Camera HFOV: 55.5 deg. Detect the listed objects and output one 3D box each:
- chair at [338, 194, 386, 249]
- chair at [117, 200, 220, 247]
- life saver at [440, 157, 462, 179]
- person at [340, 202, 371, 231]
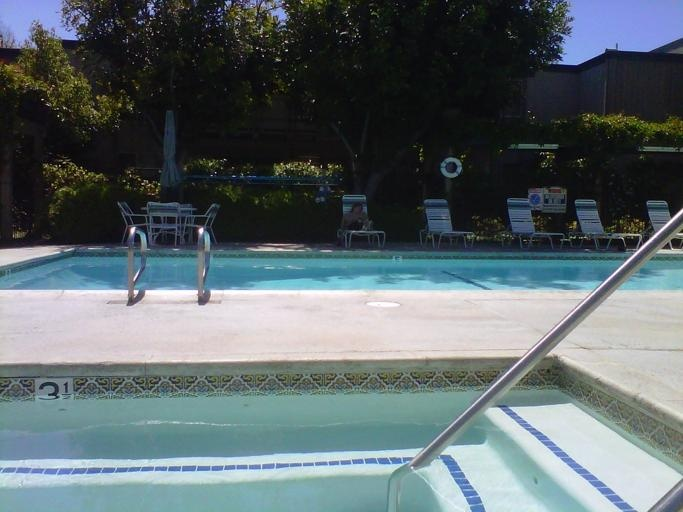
[{"bbox_3d":[0.348,-0.746,13.015,0.627,1.000,1.478,0,-1,-12],"label":"chair"},{"bbox_3d":[-3.438,-0.679,12.859,1.895,1.002,2.453,-3,12,-19],"label":"chair"},{"bbox_3d":[2.432,-1.965,14.505,0.415,0.499,0.659,4,11,16],"label":"life saver"},{"bbox_3d":[0.278,-0.738,12.842,0.563,0.673,1.721,1,11,0],"label":"person"}]
